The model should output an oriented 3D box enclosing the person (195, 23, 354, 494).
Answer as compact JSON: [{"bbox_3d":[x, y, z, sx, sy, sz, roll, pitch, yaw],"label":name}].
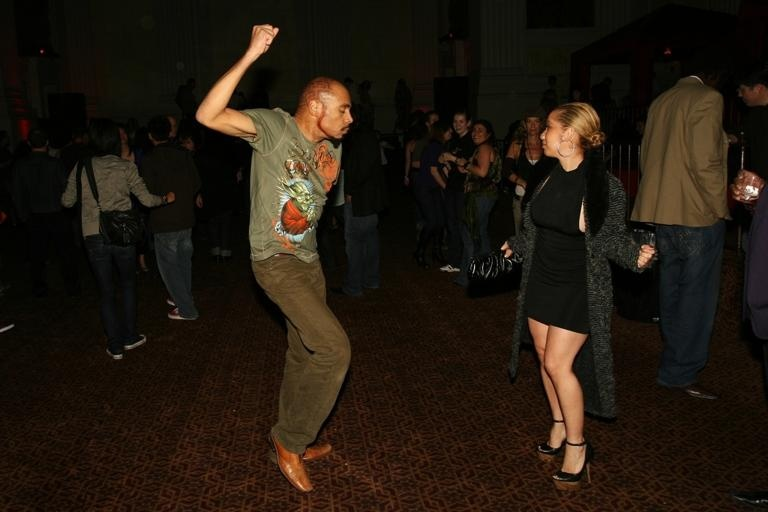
[{"bbox_3d":[-0.577,0.056,3.956,0.768,3.160,0.936,14,25,39],"label":"person"}]

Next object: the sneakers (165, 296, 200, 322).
[{"bbox_3d":[-2.670,0.733,7.313,0.525,0.225,0.235,16,17,13],"label":"sneakers"}]

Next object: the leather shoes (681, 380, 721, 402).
[{"bbox_3d":[2.817,1.222,4.993,0.335,0.147,0.113,-3,22,42],"label":"leather shoes"}]

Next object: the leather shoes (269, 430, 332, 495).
[{"bbox_3d":[-0.615,1.572,4.150,0.592,0.255,0.211,37,19,5],"label":"leather shoes"}]

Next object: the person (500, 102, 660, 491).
[{"bbox_3d":[1.325,0.276,4.032,0.774,2.609,0.811,-14,22,-29],"label":"person"}]

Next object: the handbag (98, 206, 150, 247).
[{"bbox_3d":[-2.793,-0.290,5.960,0.423,0.420,0.229,-14,23,-28],"label":"handbag"}]

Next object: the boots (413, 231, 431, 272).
[{"bbox_3d":[0.634,-0.055,9.427,0.362,0.728,0.199,8,47,5],"label":"boots"}]

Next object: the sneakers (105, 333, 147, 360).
[{"bbox_3d":[-2.874,1.020,6.252,0.170,0.145,0.460,0,12,2],"label":"sneakers"}]
